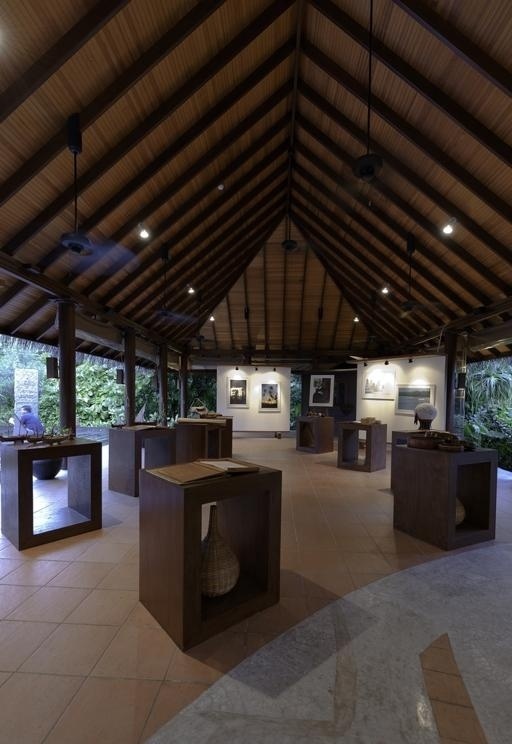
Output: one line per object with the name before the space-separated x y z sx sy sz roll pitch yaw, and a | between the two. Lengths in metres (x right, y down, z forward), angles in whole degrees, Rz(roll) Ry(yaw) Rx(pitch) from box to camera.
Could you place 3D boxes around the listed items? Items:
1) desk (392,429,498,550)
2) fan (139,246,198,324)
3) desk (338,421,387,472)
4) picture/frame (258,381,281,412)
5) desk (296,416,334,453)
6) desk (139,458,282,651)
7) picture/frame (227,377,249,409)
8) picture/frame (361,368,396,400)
desk | 1.585 1.003 4.468 0.799 1.167 0.884 1 -1 -29
fan | -1.615 -1.535 9.443 0.891 1.406 0.753 -6 22 -22
desk | 1.695 1.142 7.848 0.697 0.765 1.042 1 1 29
picture/frame | 0.288 0.643 12.919 0.733 1.035 0.098 1 -4 -9
desk | 1.196 1.235 9.803 0.637 0.932 0.941 1 -1 -28
desk | -0.289 1.016 3.033 0.720 0.923 0.595 0 1 -38
picture/frame | -0.537 0.534 12.862 0.731 1.128 0.048 2 1 -7
picture/frame | 2.910 0.290 11.642 0.078 0.751 1.080 0 1 -27
